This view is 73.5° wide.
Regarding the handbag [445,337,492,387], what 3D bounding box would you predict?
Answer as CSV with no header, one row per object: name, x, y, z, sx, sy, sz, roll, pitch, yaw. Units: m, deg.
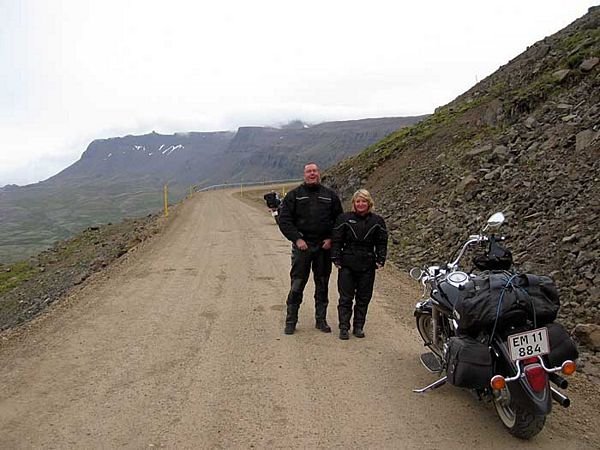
handbag,1.901,1.519,4.774,0.520,0.582,0.638,5,-11,-3

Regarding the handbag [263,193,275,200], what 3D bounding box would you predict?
handbag,-1.341,-1.290,17.463,0.647,0.219,0.450,-2,6,13

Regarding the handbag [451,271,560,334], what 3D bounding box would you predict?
handbag,2.350,0.818,4.684,0.978,0.563,0.703,-3,7,-1

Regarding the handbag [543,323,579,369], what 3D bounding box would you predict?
handbag,2.861,1.312,4.457,0.369,0.425,0.260,-8,14,-30

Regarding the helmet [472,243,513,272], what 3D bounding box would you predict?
helmet,2.459,0.384,5.150,0.480,0.359,0.351,0,3,1

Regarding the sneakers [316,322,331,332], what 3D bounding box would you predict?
sneakers,0.417,1.813,7.259,0.119,0.122,0.305,-3,1,-32
